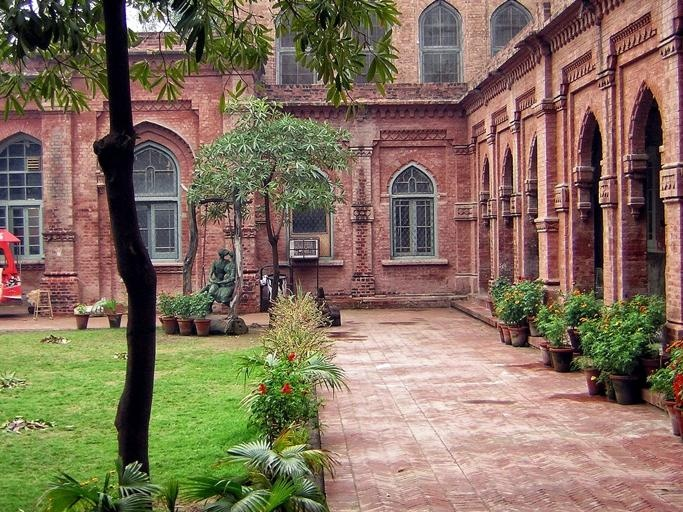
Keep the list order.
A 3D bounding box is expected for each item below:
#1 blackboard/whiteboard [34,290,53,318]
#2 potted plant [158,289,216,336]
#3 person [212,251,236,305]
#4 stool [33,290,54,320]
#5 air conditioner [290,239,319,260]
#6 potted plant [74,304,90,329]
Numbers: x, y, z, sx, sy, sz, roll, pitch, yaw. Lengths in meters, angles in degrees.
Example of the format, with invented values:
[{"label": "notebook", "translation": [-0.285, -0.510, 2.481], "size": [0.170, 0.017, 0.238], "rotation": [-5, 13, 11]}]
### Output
[{"label": "blackboard/whiteboard", "translation": [-9.491, 1.535, 20.420], "size": [0.763, 1.058, 0.609], "rotation": [1, -4, -24]}, {"label": "potted plant", "translation": [-3.998, 1.457, 16.549], "size": [1.487, 1.300, 0.970], "rotation": [0, -8, -2]}, {"label": "person", "translation": [-3.200, 0.583, 17.528], "size": [0.656, 1.398, 0.624], "rotation": [-1, 2, -27]}, {"label": "stool", "translation": [-9.473, 1.556, 20.391], "size": [0.781, 1.087, 0.626], "rotation": [1, -4, -23]}, {"label": "air conditioner", "translation": [-1.267, -0.238, 21.608], "size": [1.029, 0.620, 0.759], "rotation": [-1, 3, -2]}, {"label": "potted plant", "translation": [-7.121, 1.654, 17.656], "size": [0.363, 0.629, 0.890], "rotation": [-1, 2, -22]}]
